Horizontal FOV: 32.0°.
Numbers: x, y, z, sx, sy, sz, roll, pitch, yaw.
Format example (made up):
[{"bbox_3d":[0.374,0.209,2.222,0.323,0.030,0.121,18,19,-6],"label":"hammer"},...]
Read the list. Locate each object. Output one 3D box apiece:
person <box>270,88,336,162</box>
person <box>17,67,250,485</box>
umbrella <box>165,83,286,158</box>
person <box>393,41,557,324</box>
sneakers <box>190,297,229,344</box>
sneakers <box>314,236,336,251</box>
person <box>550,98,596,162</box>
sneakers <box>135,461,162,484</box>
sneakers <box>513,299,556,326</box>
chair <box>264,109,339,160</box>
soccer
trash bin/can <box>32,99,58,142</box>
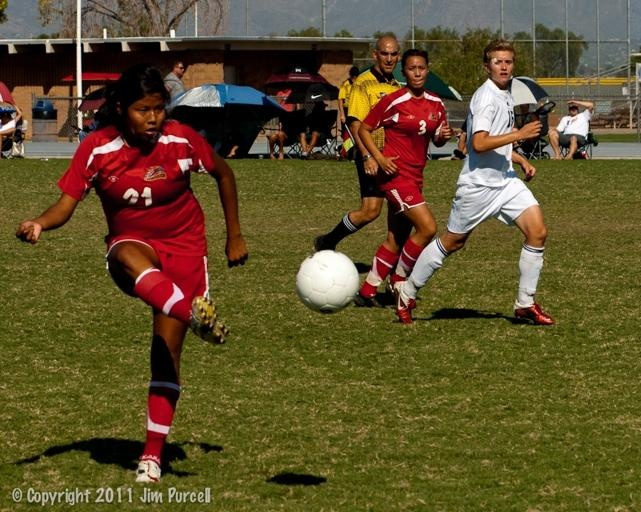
[{"bbox_3d":[-0.202,-2.712,23.543,1.204,1.104,2.018,3,6,17],"label":"person"},{"bbox_3d":[-1.073,0.083,6.940,1.205,2.506,0.918,2,9,-5],"label":"person"},{"bbox_3d":[-1.866,-2.778,21.602,2.174,0.795,2.226,2,-9,-27],"label":"umbrella"},{"bbox_3d":[1.380,-0.589,9.203,1.239,2.370,0.991,5,9,12],"label":"person"},{"bbox_3d":[-0.677,0.388,6.638,0.117,0.306,0.176,-34,-4,30],"label":"sneakers"},{"bbox_3d":[0.041,-0.138,10.999,0.134,0.166,0.173,1,-5,-7],"label":"sneakers"},{"bbox_3d":[5.023,-2.564,22.614,0.854,1.380,0.653,4,-2,-34],"label":"person"},{"bbox_3d":[-1.051,1.306,6.810,0.091,0.115,0.160,2,-8,-11],"label":"sneakers"},{"bbox_3d":[1.773,0.449,9.277,0.303,0.164,0.165,12,11,25],"label":"sneakers"},{"bbox_3d":[-0.384,-2.453,23.112,1.154,1.408,1.123,-1,18,-7],"label":"chair"},{"bbox_3d":[0.065,0.177,8.303,0.409,0.456,0.412,1,-7,-4],"label":"soccer"},{"bbox_3d":[-9.863,-4.759,39.773,0.940,1.581,0.894,0,-13,-20],"label":"trash bin/can"}]
